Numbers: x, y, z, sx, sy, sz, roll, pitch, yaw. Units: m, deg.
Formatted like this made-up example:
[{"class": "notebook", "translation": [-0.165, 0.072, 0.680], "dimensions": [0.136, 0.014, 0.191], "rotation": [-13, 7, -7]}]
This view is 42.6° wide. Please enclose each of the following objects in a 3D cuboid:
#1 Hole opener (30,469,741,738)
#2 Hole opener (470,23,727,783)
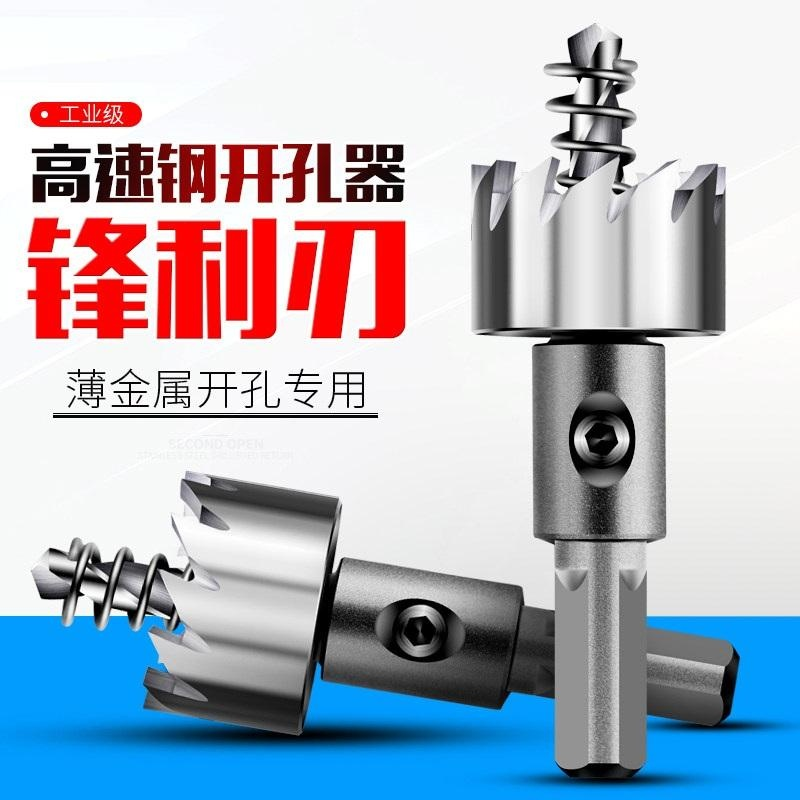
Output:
[{"class": "Hole opener", "translation": [0.009, 0.225, 1.016], "dimensions": [0.672, 0.192, 0.196], "rotation": [12, -37, -4]}, {"class": "Hole opener", "translation": [0.186, 0.004, 0.936], "dimensions": [0.215, 0.644, 0.300], "rotation": [-1, -3, 17]}]
